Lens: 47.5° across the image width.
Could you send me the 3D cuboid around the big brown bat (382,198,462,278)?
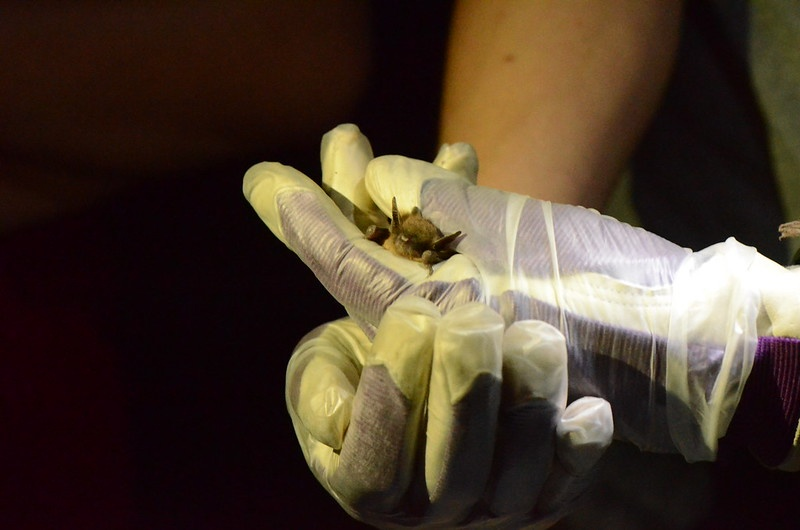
[{"bbox_3d":[0.042,-0.038,1.697,0.121,0.142,0.046,25,10,8],"label":"big brown bat"}]
